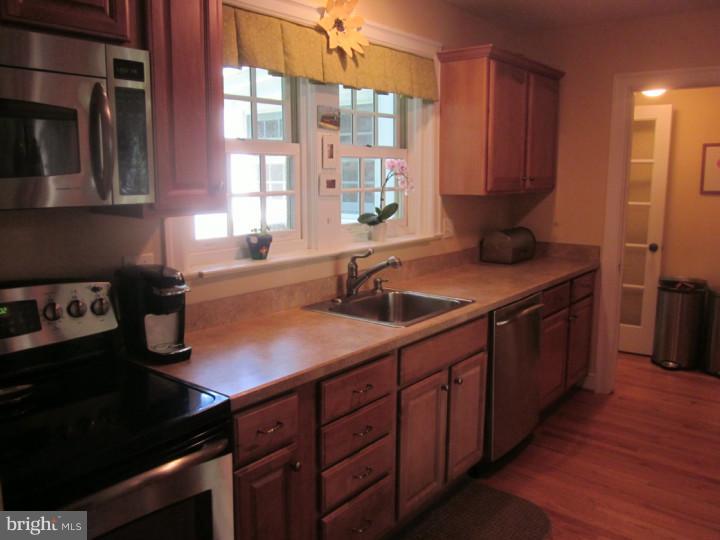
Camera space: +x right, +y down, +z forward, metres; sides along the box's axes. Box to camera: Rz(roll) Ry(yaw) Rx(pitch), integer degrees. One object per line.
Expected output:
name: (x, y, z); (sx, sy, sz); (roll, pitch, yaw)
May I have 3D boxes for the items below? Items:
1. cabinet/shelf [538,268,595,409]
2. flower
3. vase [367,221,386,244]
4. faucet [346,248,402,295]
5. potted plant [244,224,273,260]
cabinet/shelf: (1.433, 0.453, 3.883); (0.458, 0.845, 0.915); (2, 8, 32)
flower: (0.198, -0.522, 3.542); (0.341, 0.423, 0.335); (-1, 1, -23)
vase: (0.100, -0.237, 3.452); (0.113, 0.092, 0.105); (-2, 7, -14)
faucet: (0.048, -0.012, 3.120); (0.280, 0.257, 0.407); (-2, 12, -6)
potted plant: (-0.493, -0.152, 2.761); (0.153, 0.176, 0.154); (1, 0, 1)
